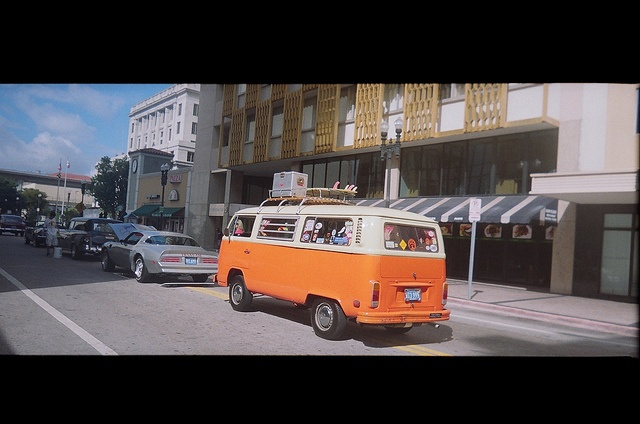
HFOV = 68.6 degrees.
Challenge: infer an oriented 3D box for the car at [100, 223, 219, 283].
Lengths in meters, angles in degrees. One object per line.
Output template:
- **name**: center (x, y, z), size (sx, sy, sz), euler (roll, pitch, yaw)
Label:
- **car**: center (-5.465, 1.471, 15.803), size (4.231, 1.589, 1.579), euler (9, 8, 35)

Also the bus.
- **bus**: center (-0.061, 1.200, 11.901), size (2.748, 2.492, 5.539), euler (6, 0, -43)
